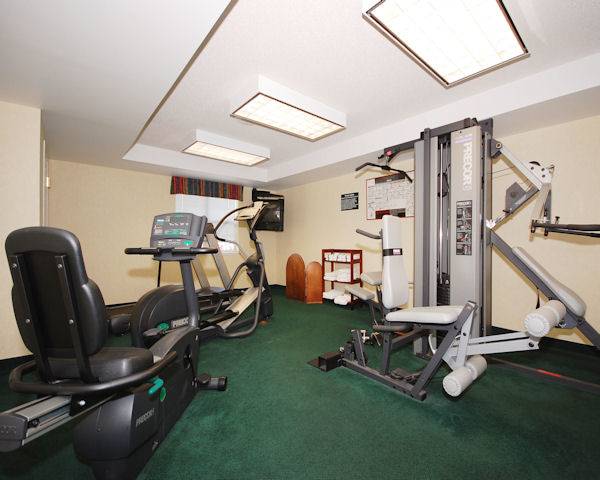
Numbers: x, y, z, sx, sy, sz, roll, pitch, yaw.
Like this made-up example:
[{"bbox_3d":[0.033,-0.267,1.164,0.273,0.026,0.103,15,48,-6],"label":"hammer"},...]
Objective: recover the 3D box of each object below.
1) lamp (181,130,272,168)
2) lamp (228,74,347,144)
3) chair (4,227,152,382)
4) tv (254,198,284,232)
[{"bbox_3d":[-1.069,-1.255,5.719,0.645,0.141,0.321,7,-15,-42],"label":"lamp"},{"bbox_3d":[-0.117,-1.446,4.675,1.219,0.259,0.659,8,-10,-34],"label":"lamp"},{"bbox_3d":[-1.542,0.450,2.894,0.460,1.111,0.719,0,1,2],"label":"chair"},{"bbox_3d":[-0.556,-0.445,7.178,0.618,0.651,0.061,-11,17,-36],"label":"tv"}]
